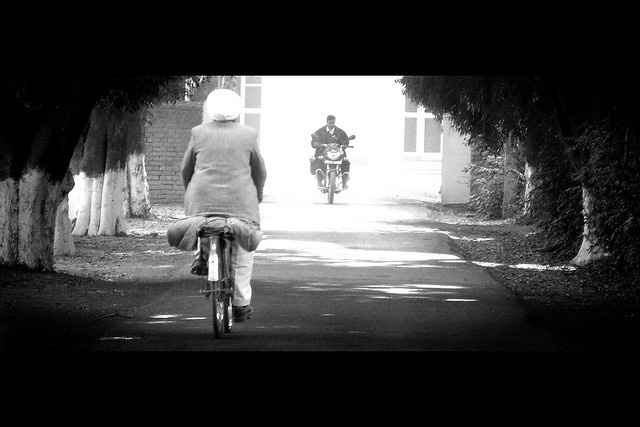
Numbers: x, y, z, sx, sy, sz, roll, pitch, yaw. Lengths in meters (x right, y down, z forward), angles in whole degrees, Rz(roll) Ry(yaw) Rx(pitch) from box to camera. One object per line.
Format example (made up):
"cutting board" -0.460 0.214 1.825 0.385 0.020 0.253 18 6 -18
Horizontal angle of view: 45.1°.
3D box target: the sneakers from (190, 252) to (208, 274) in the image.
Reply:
"sneakers" -1.383 0.575 8.721 0.233 0.261 0.141 5 9 29

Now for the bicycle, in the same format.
"bicycle" -1.174 0.773 8.844 0.403 1.480 0.771 3 8 16

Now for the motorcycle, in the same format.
"motorcycle" 0.351 -1.391 25.024 1.178 2.256 1.626 -2 8 -19

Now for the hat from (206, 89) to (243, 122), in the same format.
"hat" -1.121 -1.272 9.055 0.369 0.233 0.401 -1 5 4
